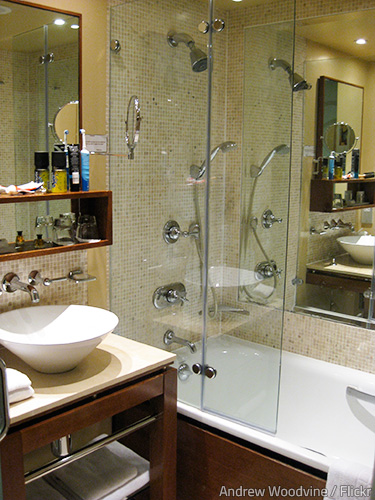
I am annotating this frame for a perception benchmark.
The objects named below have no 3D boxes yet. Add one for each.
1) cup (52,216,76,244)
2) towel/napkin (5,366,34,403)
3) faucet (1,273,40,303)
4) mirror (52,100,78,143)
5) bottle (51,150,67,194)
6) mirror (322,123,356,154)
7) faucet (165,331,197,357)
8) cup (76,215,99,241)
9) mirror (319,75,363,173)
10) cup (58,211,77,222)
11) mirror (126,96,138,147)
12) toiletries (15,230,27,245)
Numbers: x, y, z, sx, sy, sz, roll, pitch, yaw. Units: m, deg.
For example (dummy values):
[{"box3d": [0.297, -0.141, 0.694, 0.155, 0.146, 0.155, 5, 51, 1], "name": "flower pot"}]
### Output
[{"box3d": [-0.552, -0.084, 1.904, 0.095, 0.114, 0.065, -5, 10, -25], "name": "cup"}, {"box3d": [-0.518, 0.398, 1.285, 0.132, 0.039, 0.101, 4, 3, 43], "name": "towel/napkin"}, {"box3d": [-0.706, 0.159, 1.776, 0.187, 0.113, 0.083, 14, 22, 38], "name": "faucet"}, {"box3d": [-0.561, -0.576, 1.954, 0.016, 0.183, 0.159, 24, 28, 25], "name": "mirror"}, {"box3d": [-0.546, -0.332, 1.797, 0.065, 0.171, 0.064, 3, 12, -1], "name": "bottle"}, {"box3d": [0.917, -0.668, 2.546, 0.035, 0.193, 0.199, -10, 11, -41], "name": "mirror"}, {"box3d": [-0.052, 0.444, 2.063, 0.165, 0.084, 0.076, 21, 8, 35], "name": "faucet"}, {"box3d": [-0.460, -0.103, 1.956, 0.106, 0.104, 0.109, 0, 1, 0], "name": "cup"}, {"box3d": [0.906, -0.751, 2.543, 0.028, 0.572, 0.285, -8, 12, -42], "name": "mirror"}, {"box3d": [-0.544, -0.150, 1.947, 0.050, 0.046, 0.050, 1, 4, 0], "name": "cup"}, {"box3d": [-0.275, -0.629, 2.114, 0.030, 0.259, 0.099, -9, 12, -44], "name": "mirror"}, {"box3d": [-0.709, -0.049, 1.785, 0.049, 0.081, 0.049, 0, 3, -42], "name": "toiletries"}]
